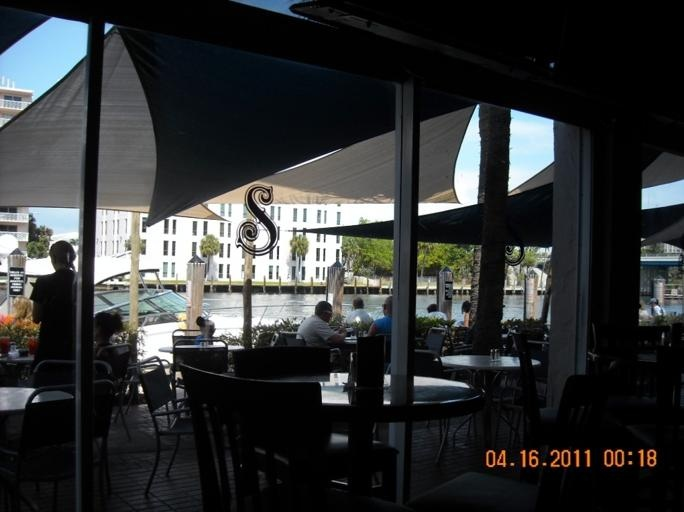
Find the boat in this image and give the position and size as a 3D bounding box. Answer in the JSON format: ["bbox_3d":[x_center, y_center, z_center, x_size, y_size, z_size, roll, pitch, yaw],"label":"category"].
[{"bbox_3d":[-3.453,0.728,11.735,4.266,1.444,1.294,0,1,-22],"label":"boat"}]
